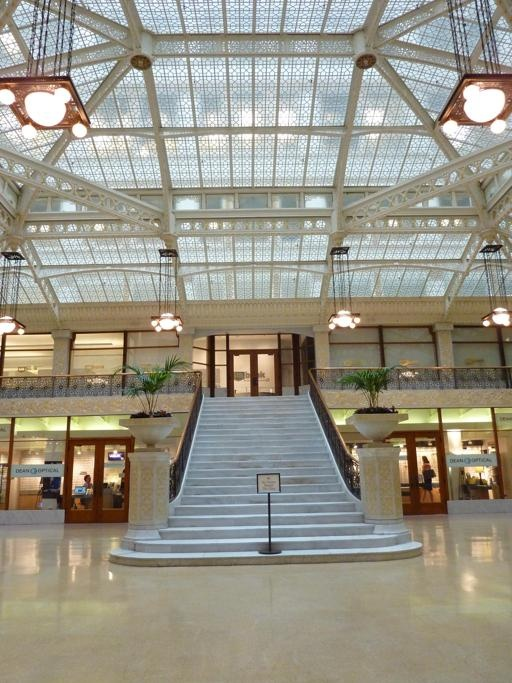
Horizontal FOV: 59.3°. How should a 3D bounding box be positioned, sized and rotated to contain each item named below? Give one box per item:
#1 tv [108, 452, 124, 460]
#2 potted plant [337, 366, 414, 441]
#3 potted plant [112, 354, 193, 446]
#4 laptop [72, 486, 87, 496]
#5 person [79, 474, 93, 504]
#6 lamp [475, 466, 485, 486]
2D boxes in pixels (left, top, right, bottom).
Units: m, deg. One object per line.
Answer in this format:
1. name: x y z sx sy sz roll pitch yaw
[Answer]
1. tv: -4.805 3.915 15.386 0.479 0.387 0.246 0 -34 -2
2. potted plant: 2.097 1.133 7.920 0.785 0.931 0.838 -10 -7 -11
3. potted plant: -1.815 1.094 7.963 1.275 1.588 1.232 -8 -13 39
4. laptop: -5.896 4.965 15.001 0.399 0.284 0.230 1 -11 2
5. person: -5.643 4.951 14.991 0.444 1.014 0.115 -6 -16 8
6. lamp: 7.729 4.623 15.426 0.274 0.568 0.065 1 -17 -14
